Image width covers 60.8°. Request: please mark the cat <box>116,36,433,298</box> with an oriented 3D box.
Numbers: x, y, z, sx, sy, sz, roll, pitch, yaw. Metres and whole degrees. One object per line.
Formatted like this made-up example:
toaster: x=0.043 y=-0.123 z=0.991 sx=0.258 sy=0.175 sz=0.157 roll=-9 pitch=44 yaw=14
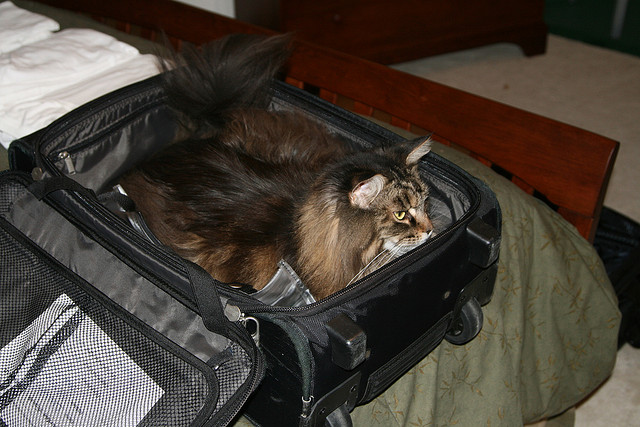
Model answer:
cat: x=-0.162 y=-0.105 z=1.348 sx=0.562 sy=0.347 sz=0.743 roll=-33 pitch=66 yaw=-32
